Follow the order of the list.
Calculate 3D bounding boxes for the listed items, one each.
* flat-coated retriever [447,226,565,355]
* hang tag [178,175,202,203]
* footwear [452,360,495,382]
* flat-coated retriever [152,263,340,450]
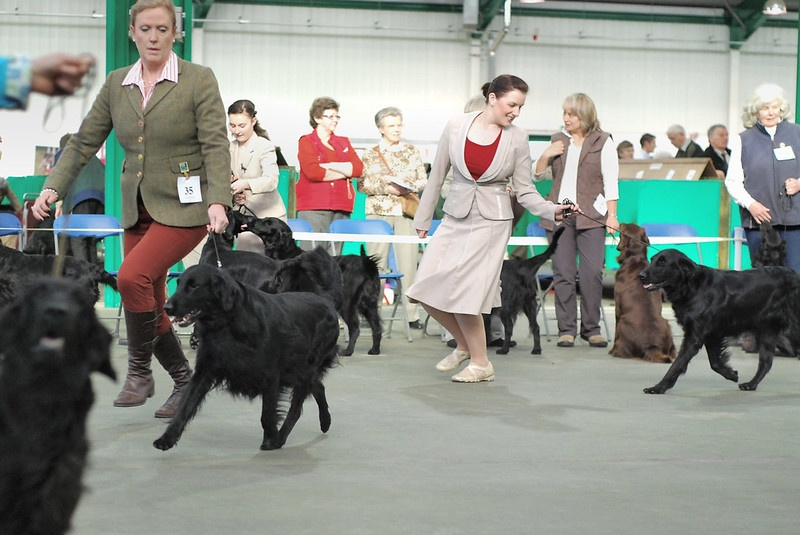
[{"bbox_3d":[0.671,0.218,8.920,0.414,1.073,1.478,-4,-4,42],"label":"flat-coated retriever"},{"bbox_3d":[-1.339,-0.488,6.293,0.139,0.184,0.014,-8,-2,-14],"label":"hang tag"},{"bbox_3d":[0.557,0.796,7.622,0.247,0.117,0.154,0,-1,-12],"label":"footwear"},{"bbox_3d":[-0.908,0.538,6.026,1.156,1.134,0.384,-4,12,-20],"label":"flat-coated retriever"}]
